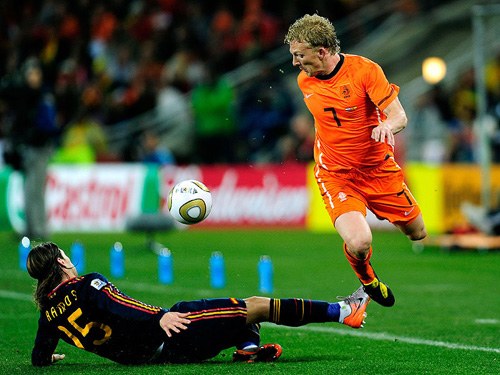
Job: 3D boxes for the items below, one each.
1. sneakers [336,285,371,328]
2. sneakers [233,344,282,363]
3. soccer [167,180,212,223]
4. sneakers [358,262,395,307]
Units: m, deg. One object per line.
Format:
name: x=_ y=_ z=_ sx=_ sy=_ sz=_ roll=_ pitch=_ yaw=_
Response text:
sneakers: x=1.074 y=1.213 z=7.694 sx=0.244 sy=0.577 sz=0.189 roll=42 pitch=-41 yaw=-12
sneakers: x=0.101 y=1.613 z=7.303 sx=0.484 sy=0.193 sz=0.220 roll=-10 pitch=-13 yaw=2
soccer: x=-0.635 y=0.170 z=8.134 sx=0.431 sy=0.481 sz=0.453 roll=-7 pitch=-4 yaw=-2
sneakers: x=1.443 y=1.103 z=8.236 sx=0.644 sy=0.216 sz=0.263 roll=41 pitch=6 yaw=-47
